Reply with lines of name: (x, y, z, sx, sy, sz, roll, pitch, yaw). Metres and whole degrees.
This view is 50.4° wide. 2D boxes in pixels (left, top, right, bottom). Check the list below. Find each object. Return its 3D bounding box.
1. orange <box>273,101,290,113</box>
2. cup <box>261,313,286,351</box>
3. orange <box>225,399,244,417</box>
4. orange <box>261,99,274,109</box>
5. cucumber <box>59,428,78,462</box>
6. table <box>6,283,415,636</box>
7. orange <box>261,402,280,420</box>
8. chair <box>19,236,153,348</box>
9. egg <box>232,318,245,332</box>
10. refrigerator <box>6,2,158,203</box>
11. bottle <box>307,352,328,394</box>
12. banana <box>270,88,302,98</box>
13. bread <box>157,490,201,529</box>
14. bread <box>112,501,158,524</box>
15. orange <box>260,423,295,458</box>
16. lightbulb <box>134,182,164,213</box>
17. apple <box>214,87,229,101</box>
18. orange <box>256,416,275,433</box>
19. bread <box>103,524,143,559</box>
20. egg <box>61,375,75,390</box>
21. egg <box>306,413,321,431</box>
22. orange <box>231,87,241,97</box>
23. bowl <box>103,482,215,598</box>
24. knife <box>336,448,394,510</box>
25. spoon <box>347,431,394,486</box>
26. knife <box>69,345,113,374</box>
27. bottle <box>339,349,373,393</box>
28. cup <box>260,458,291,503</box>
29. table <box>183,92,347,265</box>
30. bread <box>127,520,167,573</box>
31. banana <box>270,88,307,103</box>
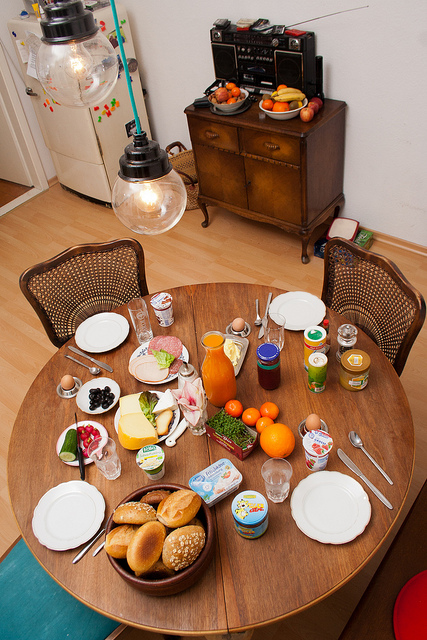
orange: (0.394, -1.243, 2.658, 0.101, 0.038, 0.097, 10, 46, 22)
cup: (0.198, 0.045, 1.488, 0.063, 0.093, 0.061, -4, 50, 5)
orange: (0.056, 0.252, 1.287, 0.041, 0.043, 0.044, -11, 78, -5)
orange: (0.318, -1.277, 2.695, 0.057, 0.060, 0.058, 22, 16, 5)
cucumber: (-0.406, 0.350, 1.263, 0.034, 0.029, 0.080, -1, 34, -3)
table: (-0.025, 0.294, 1.192, 1.168, 0.257, 0.876, -8, 42, 3)
orange: (0.158, 0.255, 1.268, 0.044, 0.045, 0.046, -20, 48, 10)
chair: (-0.590, -0.108, 2.086, 0.385, 0.657, 0.447, -31, 73, -1)
egg: (0.086, 0.018, 1.572, 0.037, 0.040, 0.046, -11, 26, 4)
refrigerator: (-0.928, -1.664, 3.660, 0.970, 1.370, 1.487, -22, 42, -13)
bottle: (0.302, 0.158, 1.322, 0.045, 0.111, 0.050, 11, 53, 15)
banana: (0.432, -1.341, 2.713, 0.187, 0.053, 0.062, 1, 59, 6)
bread: (-0.073, 0.388, 0.933, 0.054, 0.045, 0.074, 36, 62, 27)
bread: (-0.166, 0.413, 0.965, 0.104, 0.048, 0.053, -3, 42, 9)
orange: (0.171, 0.304, 1.176, 0.083, 0.083, 0.088, -2, 33, 16)
lightbulb: (-0.146, -0.273, 1.019, 0.056, 0.082, 0.061, 4, 46, 6)
apple: (0.050, -1.408, 2.837, 0.070, 0.080, 0.075, 0, 9, 37)
orange: (0.141, 0.288, 1.231, 0.039, 0.041, 0.042, 4, 67, 4)
bread: (-0.191, 0.446, 0.917, 0.048, 0.021, 0.067, 23, 51, 19)
egg: (-0.463, 0.199, 1.438, 0.038, 0.049, 0.040, 8, 14, 4)
egg: (0.263, 0.271, 1.195, 0.037, 0.048, 0.039, -6, 37, -4)
orange: (0.138, -1.430, 2.848, 0.049, 0.050, 0.052, 26, 89, -5)
bowl: (-0.109, 0.416, 0.928, 0.201, 0.128, 0.238, 8, 64, 6)
knife: (0.371, 0.388, 1.141, 0.038, 0.014, 0.285, -23, 31, 2)
spoon: (0.397, 0.339, 1.187, 0.035, 0.029, 0.195, -19, 49, -10)
knife: (-0.429, 0.144, 1.589, 0.144, 0.007, 0.016, 34, 59, 18)
bottle: (0.415, 0.152, 1.341, 0.083, 0.097, 0.089, 5, 43, 16)
cup: (0.155, 0.387, 1.109, 0.067, 0.090, 0.080, -12, 41, -2)
table: (0.344, -1.087, 3.200, 0.939, 0.955, 0.578, 22, 56, 26)
bread: (-0.131, 0.434, 0.892, 0.071, 0.112, 0.025, 19, -3, -20)
banana: (0.434, -1.316, 2.662, 0.170, 0.043, 0.092, 5, 83, 4)
